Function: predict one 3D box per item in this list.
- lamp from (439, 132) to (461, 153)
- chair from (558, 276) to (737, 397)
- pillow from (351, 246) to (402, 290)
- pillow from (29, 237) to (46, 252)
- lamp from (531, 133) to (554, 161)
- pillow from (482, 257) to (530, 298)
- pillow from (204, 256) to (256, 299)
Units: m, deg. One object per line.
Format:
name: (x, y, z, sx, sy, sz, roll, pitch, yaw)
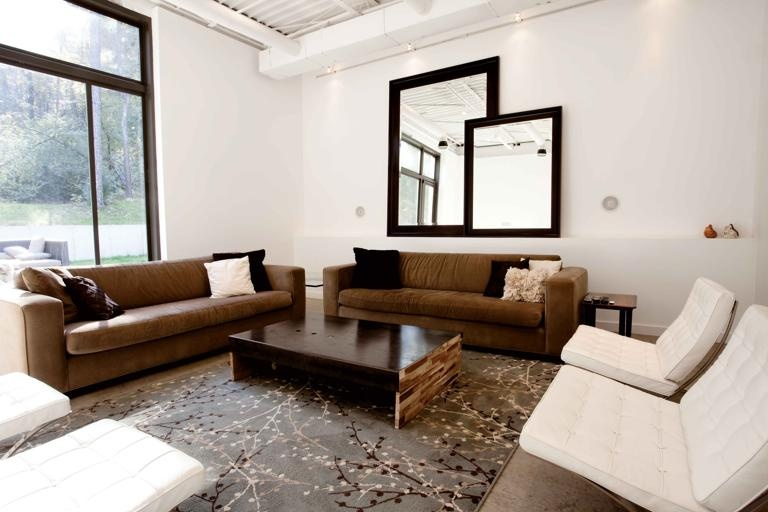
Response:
lamp: (0.943, -1.576, 6.918, 0.325, 0.264, 0.104, -11, -6, 28)
chair: (2.117, 0.711, 4.020, 1.168, 0.815, 1.090, -1, 9, 29)
pillow: (-0.099, 0.150, 6.336, 0.612, 0.484, 0.511, -1, 8, -2)
pillow: (-4.078, -0.132, 5.795, 0.162, 0.147, 0.068, 6, -5, -12)
lamp: (2.036, -1.396, 6.261, 0.326, 0.278, 0.084, 7, 9, 42)
pillow: (1.409, 0.276, 5.746, 0.488, 0.456, 0.180, -1, -21, 45)
pillow: (-1.808, 0.266, 5.778, 0.456, 0.401, 0.166, -7, -32, -16)
